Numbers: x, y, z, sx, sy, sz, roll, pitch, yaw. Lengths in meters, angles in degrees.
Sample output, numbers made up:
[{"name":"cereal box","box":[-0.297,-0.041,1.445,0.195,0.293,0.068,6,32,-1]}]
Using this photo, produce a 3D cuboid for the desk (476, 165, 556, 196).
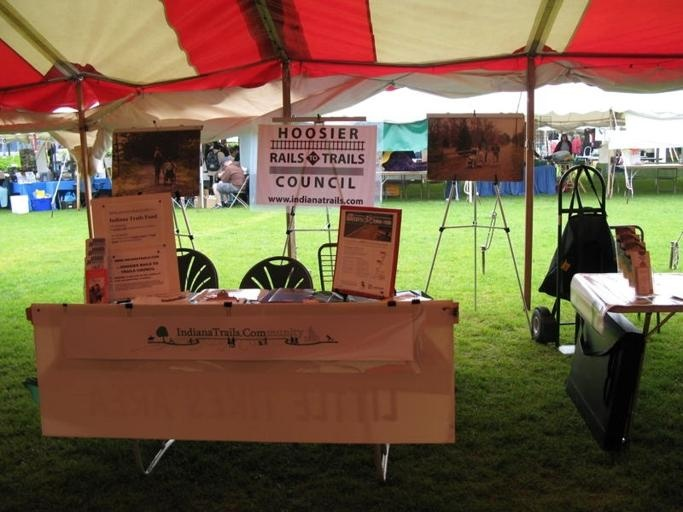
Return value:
[{"name":"desk","box":[5.497,-2.249,16.456,2.685,0.864,0.894,-6,15,-15]}]

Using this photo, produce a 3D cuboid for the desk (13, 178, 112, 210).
[{"name":"desk","box":[-8.116,-1.720,15.404,2.987,0.822,0.953,-2,15,0]}]

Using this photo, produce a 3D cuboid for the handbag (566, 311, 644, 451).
[{"name":"handbag","box":[1.696,0.833,3.499,0.263,0.711,0.753,0,11,3]}]

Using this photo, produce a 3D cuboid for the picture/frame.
[{"name":"picture/frame","box":[0.147,-0.014,3.205,0.391,0.531,0.209,7,17,30]}]

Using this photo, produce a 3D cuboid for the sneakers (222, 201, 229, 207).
[{"name":"sneakers","box":[-3.145,-1.383,14.756,0.070,0.148,0.098,-28,36,-17]}]

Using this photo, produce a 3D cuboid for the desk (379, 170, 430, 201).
[{"name":"desk","box":[1.687,-1.924,14.826,1.230,0.851,1.765,-1,13,-2]}]

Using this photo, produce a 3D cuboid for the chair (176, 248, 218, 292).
[{"name":"chair","box":[-1.171,0.101,4.663,0.372,0.505,0.367,0,0,-13]}]

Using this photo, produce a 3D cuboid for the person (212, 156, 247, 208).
[{"name":"person","box":[-2.939,-1.919,14.462,0.960,1.244,0.619,0,15,6]}]
